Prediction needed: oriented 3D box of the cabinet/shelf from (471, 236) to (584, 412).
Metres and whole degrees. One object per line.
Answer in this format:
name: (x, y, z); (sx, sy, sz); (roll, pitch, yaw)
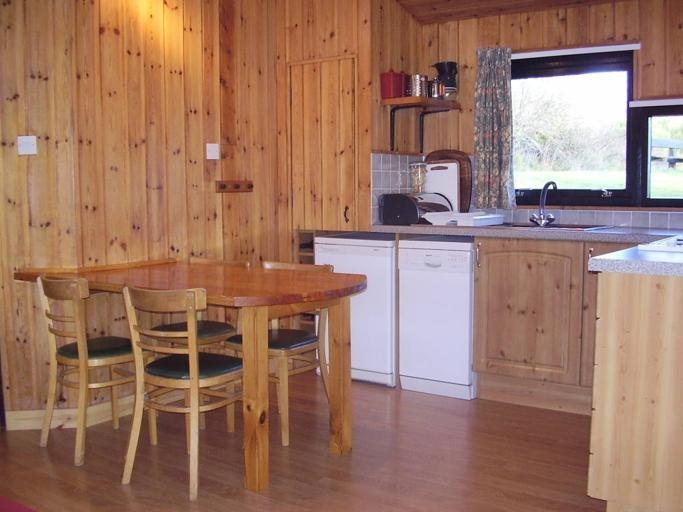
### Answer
cabinet/shelf: (1.379, 0.420, 4.718); (0.752, 1.180, 0.587); (3, 11, 25)

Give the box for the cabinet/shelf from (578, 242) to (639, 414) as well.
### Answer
cabinet/shelf: (1.629, 0.449, 4.060); (0.265, 1.005, 0.474); (3, 11, 20)

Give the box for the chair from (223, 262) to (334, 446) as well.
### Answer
chair: (-0.412, 0.615, 4.219); (0.683, 1.026, 0.748); (-1, 2, 11)

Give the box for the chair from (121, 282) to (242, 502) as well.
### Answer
chair: (-0.873, 0.720, 3.710); (0.731, 1.104, 0.696); (-2, 4, -41)

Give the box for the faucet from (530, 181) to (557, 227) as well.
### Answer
faucet: (1.565, -0.404, 5.038); (0.187, 0.331, 0.380); (3, 11, 18)

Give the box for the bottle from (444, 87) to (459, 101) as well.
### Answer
bottle: (0.901, -1.330, 5.369); (0.079, 0.104, 0.188); (3, 11, 20)

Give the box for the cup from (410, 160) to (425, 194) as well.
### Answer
cup: (0.633, -0.650, 5.396); (0.115, 0.235, 0.188); (-2, 10, -6)

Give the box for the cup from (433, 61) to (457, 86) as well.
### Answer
cup: (0.860, -1.488, 5.425); (0.197, 0.227, 0.185); (0, 4, 0)

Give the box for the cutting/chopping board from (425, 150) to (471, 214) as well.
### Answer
cutting/chopping board: (0.868, -0.576, 5.273); (0.501, 0.583, 0.057); (3, 5, 43)

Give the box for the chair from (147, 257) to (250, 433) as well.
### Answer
chair: (-0.988, 0.517, 4.159); (0.540, 0.738, 0.508); (3, 12, 30)
